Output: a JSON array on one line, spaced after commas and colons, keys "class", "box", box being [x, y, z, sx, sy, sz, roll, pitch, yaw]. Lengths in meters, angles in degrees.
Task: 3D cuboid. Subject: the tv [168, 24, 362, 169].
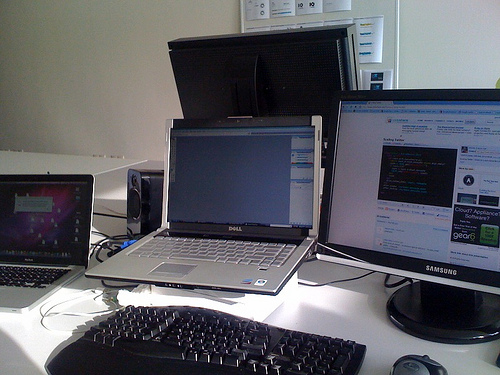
[{"class": "tv", "box": [0.058, -0.286, 1.261, 0.487, 0.364, 0.145, 3, 23, 19]}]

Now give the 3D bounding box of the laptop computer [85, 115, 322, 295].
[{"class": "laptop computer", "box": [-0.105, 0.018, 1.081, 0.569, 0.399, 0.366, 3, 14, 16]}]

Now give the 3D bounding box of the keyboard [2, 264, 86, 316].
[{"class": "keyboard", "box": [-0.651, 0.283, 1.146, 0.231, 0.035, 0.235, 4, 15, 19]}]
